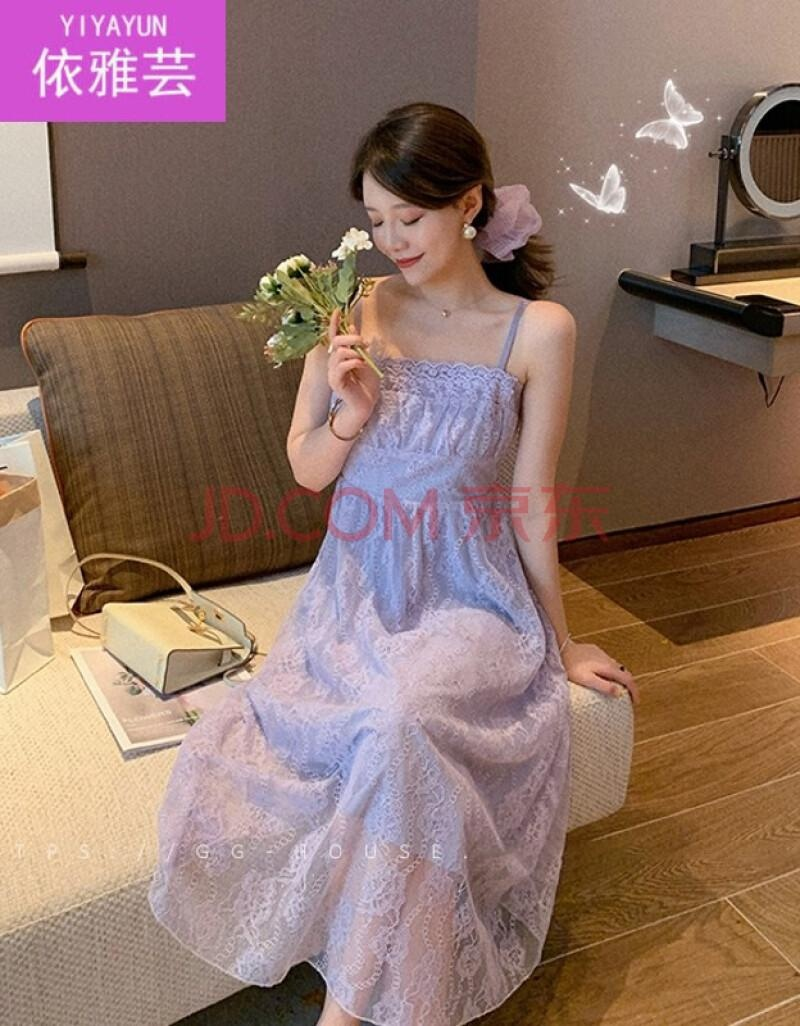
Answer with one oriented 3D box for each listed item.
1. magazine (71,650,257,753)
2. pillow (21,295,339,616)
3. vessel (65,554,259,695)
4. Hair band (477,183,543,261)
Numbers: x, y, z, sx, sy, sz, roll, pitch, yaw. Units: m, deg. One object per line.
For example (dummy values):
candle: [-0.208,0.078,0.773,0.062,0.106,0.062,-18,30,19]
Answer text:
magazine: [-0.367,0.263,1.131,0.144,0.015,0.128,-1,31,-44]
pillow: [-0.397,-0.153,1.478,0.483,0.528,0.133,0,56,8]
vessel: [-0.334,0.187,1.211,0.214,0.076,0.202,30,29,27]
Hair band: [0.166,-0.456,1.249,0.119,0.110,0.040,-14,31,-16]
